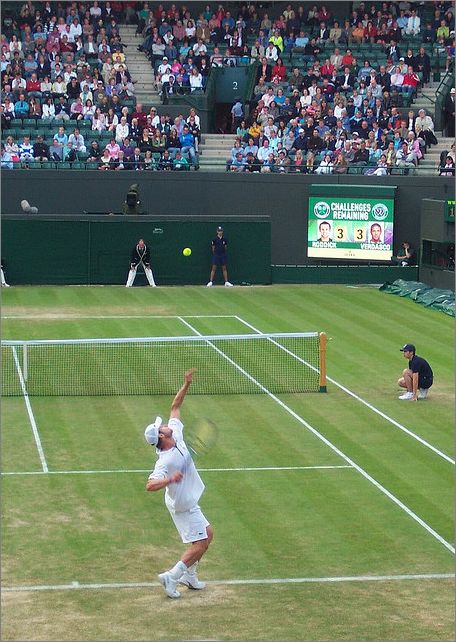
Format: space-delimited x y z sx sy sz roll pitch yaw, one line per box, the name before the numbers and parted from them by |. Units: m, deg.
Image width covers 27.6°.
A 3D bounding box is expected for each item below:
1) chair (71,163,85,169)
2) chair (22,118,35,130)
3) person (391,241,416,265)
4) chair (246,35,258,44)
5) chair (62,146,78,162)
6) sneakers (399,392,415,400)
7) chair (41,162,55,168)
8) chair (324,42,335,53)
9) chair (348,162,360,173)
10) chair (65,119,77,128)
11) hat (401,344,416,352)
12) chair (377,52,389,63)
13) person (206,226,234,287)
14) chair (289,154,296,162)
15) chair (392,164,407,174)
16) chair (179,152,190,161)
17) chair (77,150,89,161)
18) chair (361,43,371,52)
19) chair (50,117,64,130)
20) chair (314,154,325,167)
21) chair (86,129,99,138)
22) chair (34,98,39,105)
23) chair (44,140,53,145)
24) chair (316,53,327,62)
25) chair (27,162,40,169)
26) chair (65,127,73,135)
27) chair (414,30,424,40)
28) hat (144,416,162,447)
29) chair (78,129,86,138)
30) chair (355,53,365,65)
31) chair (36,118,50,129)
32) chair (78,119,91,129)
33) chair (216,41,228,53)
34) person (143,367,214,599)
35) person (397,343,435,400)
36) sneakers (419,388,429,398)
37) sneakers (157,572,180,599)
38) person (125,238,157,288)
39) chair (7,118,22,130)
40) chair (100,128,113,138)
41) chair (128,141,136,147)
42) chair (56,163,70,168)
chair | -5.604 -5.845 34.831 0.535 0.289 0.298 -1 10 -14
chair | -7.675 -7.665 36.001 0.489 0.593 0.489 0 3 -12
person | 6.241 -2.383 33.099 0.689 0.834 0.871 3 6 43
chair | 1.056 -12.624 41.500 0.597 0.377 0.413 0 4 -4
chair | -5.923 -6.356 34.994 0.536 0.728 0.515 0 10 -9
sneakers | 3.444 1.458 17.880 0.310 0.126 0.103 -2 -2 6
chair | -6.705 -5.807 34.665 0.531 0.266 0.401 0 9 -11
chair | 4.362 -11.814 39.856 0.425 0.549 0.543 3 6 5
chair | 4.638 -5.650 34.060 0.442 0.281 0.409 2 33 5
chair | -6.058 -7.660 36.040 0.507 0.344 0.175 5 10 20
hat | 3.319 0.519 16.966 0.311 0.170 0.214 6 1 -1
chair | 6.406 -10.992 38.667 0.458 0.582 0.531 1 0 3
person | -0.262 -2.219 32.093 0.860 2.111 1.426 1 10 -1
chair | 2.433 -6.168 35.184 0.219 0.289 0.379 2 9 3
chair | 6.135 -5.425 33.198 0.588 0.343 1.110 3 9 10
chair | -1.630 -6.346 35.713 0.408 0.285 0.181 1 5 3
chair | -5.472 -6.290 35.204 0.397 0.281 0.350 1 2 30
chair | 5.822 -11.577 39.253 0.365 0.455 0.446 2 18 6
chair | -6.615 -7.698 36.154 0.491 0.578 0.491 0 16 -3
chair | 3.439 -6.068 34.822 0.301 0.360 0.468 2 9 5
chair | -5.200 -7.234 35.880 0.345 0.316 0.333 4 21 3
chair | -7.485 -8.687 36.613 0.160 0.250 0.514 1 9 -6
chair | -6.834 -6.876 35.512 0.264 0.258 0.641 0 9 -8
chair | 3.942 -11.153 39.240 0.458 0.425 0.446 4 22 4
chair | -7.224 -5.817 34.587 0.391 0.248 0.266 0 8 -3
chair | -6.155 -7.399 35.959 0.362 0.391 0.310 0 -3 -4
chair | 8.148 -12.253 39.686 0.351 0.226 0.343 5 26 10
hat | -0.643 1.016 8.388 0.148 0.259 0.175 13 1 -23
chair | -5.578 -7.266 35.815 0.262 0.366 0.370 0 10 -9
chair | 5.455 -10.888 38.548 0.447 0.603 0.602 1 3 13
chair | -7.152 -7.713 36.040 0.514 0.446 0.453 1 11 -3
chair | -5.545 -7.682 36.198 0.407 0.489 0.420 0 -3 -5
chair | -0.251 -12.127 40.961 0.652 0.432 0.621 1 25 -6
person | -0.581 1.932 10.887 0.660 2.263 1.393 -7 22 -1
person | 3.588 0.987 17.831 0.677 1.036 0.609 -1 -1 -19
sneakers | 3.730 1.384 17.794 0.135 0.192 0.125 16 21 15
sneakers | -0.550 2.508 8.821 0.169 0.353 0.119 -15 32 8
person | -2.951 -1.951 31.577 1.009 1.685 1.528 1 10 -5
chair | -8.163 -7.608 35.872 0.415 0.641 0.476 0 14 -7
chair | -4.687 -7.287 35.981 0.331 0.421 0.319 2 26 -2
chair | -3.645 -6.862 35.691 0.266 0.303 0.240 3 15 11
chair | -6.156 -5.829 34.744 0.535 0.283 0.276 -1 10 -15
